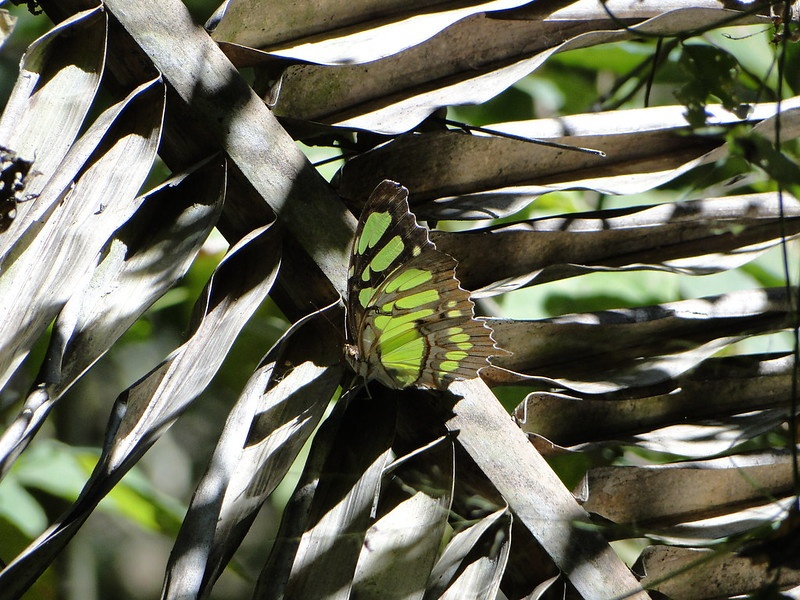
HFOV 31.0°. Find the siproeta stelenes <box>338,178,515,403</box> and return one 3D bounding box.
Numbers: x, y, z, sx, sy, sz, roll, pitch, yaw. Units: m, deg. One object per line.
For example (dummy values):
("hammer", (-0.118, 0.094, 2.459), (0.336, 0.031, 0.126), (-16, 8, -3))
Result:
("siproeta stelenes", (0.021, 0.022, 1.455), (0.162, 0.195, 0.221), (12, -16, 7))
